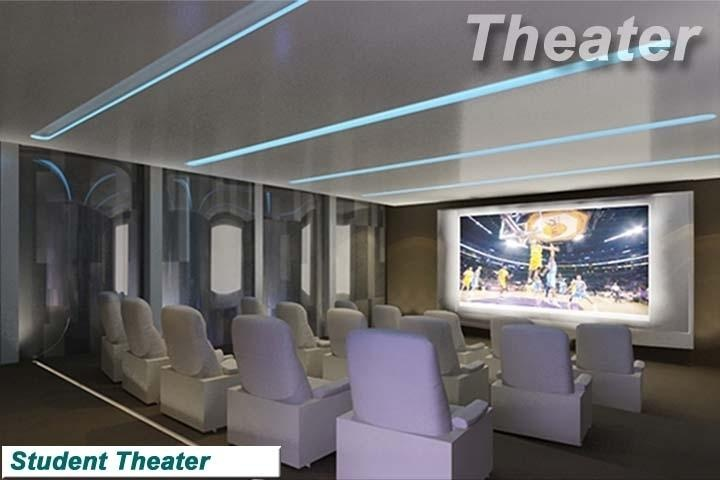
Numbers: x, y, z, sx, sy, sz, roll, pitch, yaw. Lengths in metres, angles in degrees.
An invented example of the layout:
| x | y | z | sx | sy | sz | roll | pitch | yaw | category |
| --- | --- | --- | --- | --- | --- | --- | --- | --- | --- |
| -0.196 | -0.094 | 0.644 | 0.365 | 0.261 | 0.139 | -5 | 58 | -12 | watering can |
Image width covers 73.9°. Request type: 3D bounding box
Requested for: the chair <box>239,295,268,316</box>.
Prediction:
| x | y | z | sx | sy | sz | roll | pitch | yaw | category |
| --- | --- | --- | --- | --- | --- | --- | --- | --- | --- |
| -1.848 | 1.110 | 8.062 | 0.408 | 0.253 | 0.308 | 3 | 12 | 11 | chair |

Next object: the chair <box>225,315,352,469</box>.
| x | y | z | sx | sy | sz | roll | pitch | yaw | category |
| --- | --- | --- | --- | --- | --- | --- | --- | --- | --- |
| -0.764 | 1.652 | 5.808 | 1.178 | 1.604 | 1.368 | 0 | 0 | 32 | chair |

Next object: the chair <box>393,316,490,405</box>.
| x | y | z | sx | sy | sz | roll | pitch | yaw | category |
| --- | --- | --- | --- | --- | --- | --- | --- | --- | --- |
| 1.226 | 1.751 | 6.842 | 0.927 | 1.548 | 0.962 | -3 | 5 | 35 | chair |

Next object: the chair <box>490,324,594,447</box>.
| x | y | z | sx | sy | sz | roll | pitch | yaw | category |
| --- | --- | --- | --- | --- | --- | --- | --- | --- | --- |
| 2.300 | 1.697 | 6.123 | 1.086 | 1.452 | 0.840 | 0 | 8 | 36 | chair |

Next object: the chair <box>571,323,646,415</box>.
| x | y | z | sx | sy | sz | roll | pitch | yaw | category |
| --- | --- | --- | --- | --- | --- | --- | --- | --- | --- |
| 3.583 | 1.726 | 7.011 | 0.955 | 1.280 | 0.722 | 0 | 11 | 35 | chair |

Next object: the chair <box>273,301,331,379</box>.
| x | y | z | sx | sy | sz | roll | pitch | yaw | category |
| --- | --- | --- | --- | --- | --- | --- | --- | --- | --- |
| -0.972 | 1.792 | 8.348 | 0.839 | 1.395 | 0.869 | -5 | -5 | 35 | chair |

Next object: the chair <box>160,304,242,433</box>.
| x | y | z | sx | sy | sz | roll | pitch | yaw | category |
| --- | --- | --- | --- | --- | --- | --- | --- | --- | --- |
| -1.987 | 1.580 | 6.356 | 1.199 | 1.516 | 1.196 | 2 | 3 | -6 | chair |

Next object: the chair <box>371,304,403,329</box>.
| x | y | z | sx | sy | sz | roll | pitch | yaw | category |
| --- | --- | --- | --- | --- | --- | --- | --- | --- | --- |
| 0.463 | 1.314 | 8.288 | 0.459 | 0.509 | 0.504 | 0 | -5 | 39 | chair |
